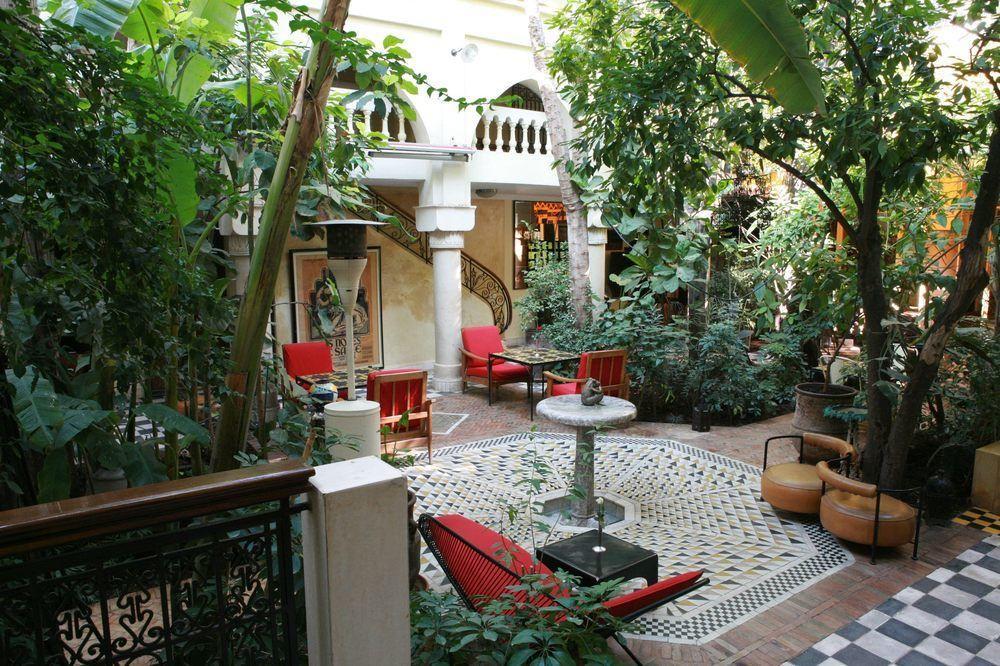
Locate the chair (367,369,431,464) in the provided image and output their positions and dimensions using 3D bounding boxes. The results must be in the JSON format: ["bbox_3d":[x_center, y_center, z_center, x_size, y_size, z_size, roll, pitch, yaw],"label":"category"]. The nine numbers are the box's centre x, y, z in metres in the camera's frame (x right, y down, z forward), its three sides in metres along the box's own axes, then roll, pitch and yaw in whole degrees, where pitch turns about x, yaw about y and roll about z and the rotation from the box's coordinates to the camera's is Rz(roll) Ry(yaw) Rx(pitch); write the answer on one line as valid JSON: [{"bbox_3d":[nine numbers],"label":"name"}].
[{"bbox_3d":[-1.263,1.115,8.824,0.828,1.278,0.492,-12,18,-41],"label":"chair"}]

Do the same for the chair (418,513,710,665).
[{"bbox_3d":[0.477,1.900,4.959,0.450,0.531,1.306,-28,19,-30],"label":"chair"}]

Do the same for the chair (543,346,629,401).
[{"bbox_3d":[1.394,0.579,10.796,1.002,1.183,0.907,-9,19,-29],"label":"chair"}]

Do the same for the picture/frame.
[{"bbox_3d":[-3.184,-0.335,13.208,1.929,2.300,0.071,0,3,16],"label":"picture/frame"}]

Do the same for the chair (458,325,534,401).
[{"bbox_3d":[-0.210,0.519,12.358,1.205,1.405,1.326,-7,12,-36],"label":"chair"}]

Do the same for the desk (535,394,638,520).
[{"bbox_3d":[0.981,1.411,7.765,1.045,1.338,0.922,4,14,17],"label":"desk"}]

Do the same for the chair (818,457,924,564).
[{"bbox_3d":[3.790,1.785,7.009,0.928,0.797,1.041,-6,13,-15],"label":"chair"}]
